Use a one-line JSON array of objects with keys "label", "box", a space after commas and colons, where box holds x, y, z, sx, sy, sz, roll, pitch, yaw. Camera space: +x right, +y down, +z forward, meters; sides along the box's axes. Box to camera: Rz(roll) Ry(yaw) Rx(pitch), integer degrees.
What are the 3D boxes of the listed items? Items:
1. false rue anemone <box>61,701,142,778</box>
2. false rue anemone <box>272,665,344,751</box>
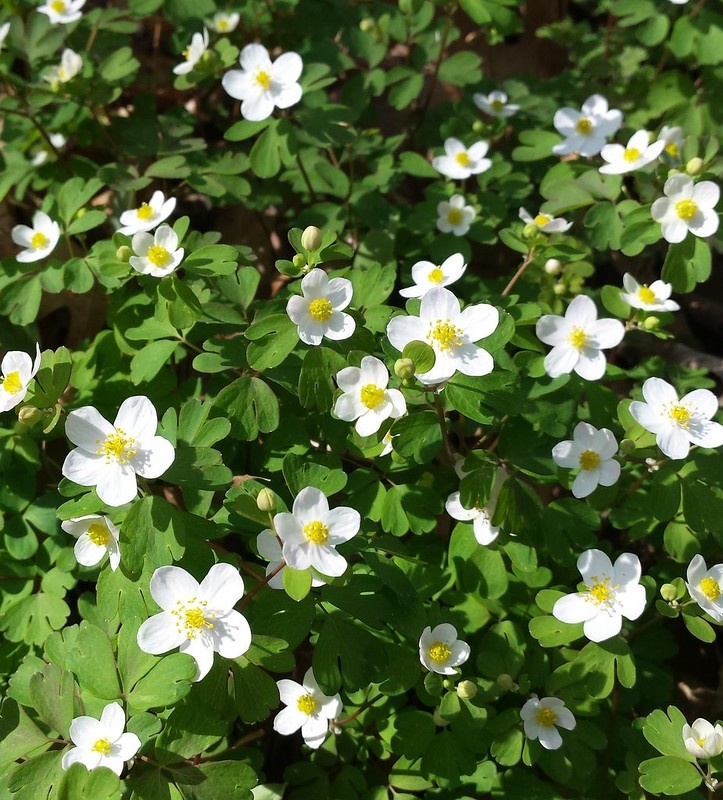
[{"label": "false rue anemone", "box": [-0.746, 0.992, 2.279, 0.234, 0.149, 0.167, 9, 45, 11]}, {"label": "false rue anemone", "box": [-0.186, 1.026, 2.627, 0.203, 0.192, 0.185, 10, 45, 12]}]
